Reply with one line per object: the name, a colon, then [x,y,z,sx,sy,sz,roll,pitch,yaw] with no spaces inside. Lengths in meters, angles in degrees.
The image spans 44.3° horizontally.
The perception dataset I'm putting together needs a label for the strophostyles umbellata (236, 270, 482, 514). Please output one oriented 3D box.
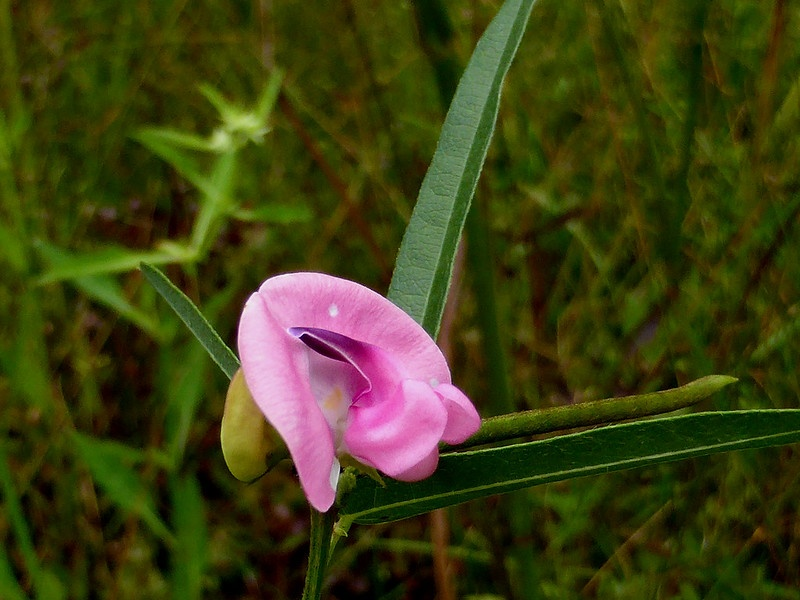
strophostyles umbellata: [-0.067,0.123,1.179,0.262,0.142,0.312,25,39,2]
